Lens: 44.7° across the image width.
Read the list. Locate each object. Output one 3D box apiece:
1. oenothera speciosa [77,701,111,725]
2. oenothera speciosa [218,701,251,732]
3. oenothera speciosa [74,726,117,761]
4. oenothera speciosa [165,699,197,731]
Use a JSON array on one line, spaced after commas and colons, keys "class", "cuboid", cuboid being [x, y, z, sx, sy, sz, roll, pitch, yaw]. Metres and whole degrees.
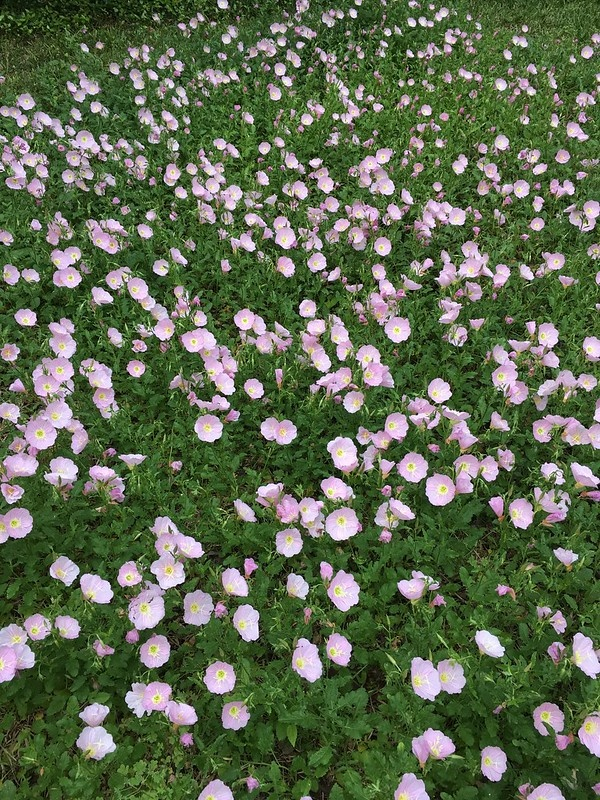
[{"class": "oenothera speciosa", "cuboid": [-0.735, 1.133, 2.639, 0.106, 0.049, 0.094, 2, 24, 11]}, {"class": "oenothera speciosa", "cuboid": [-0.231, 1.145, 2.651, 0.117, 0.049, 0.117, -8, 59, -20]}, {"class": "oenothera speciosa", "cuboid": [-0.723, 1.206, 2.588, 0.129, 0.061, 0.119, 30, 38, 10]}, {"class": "oenothera speciosa", "cuboid": [-0.418, 1.111, 2.586, 0.126, 0.045, 0.110, 15, 19, -26]}]
